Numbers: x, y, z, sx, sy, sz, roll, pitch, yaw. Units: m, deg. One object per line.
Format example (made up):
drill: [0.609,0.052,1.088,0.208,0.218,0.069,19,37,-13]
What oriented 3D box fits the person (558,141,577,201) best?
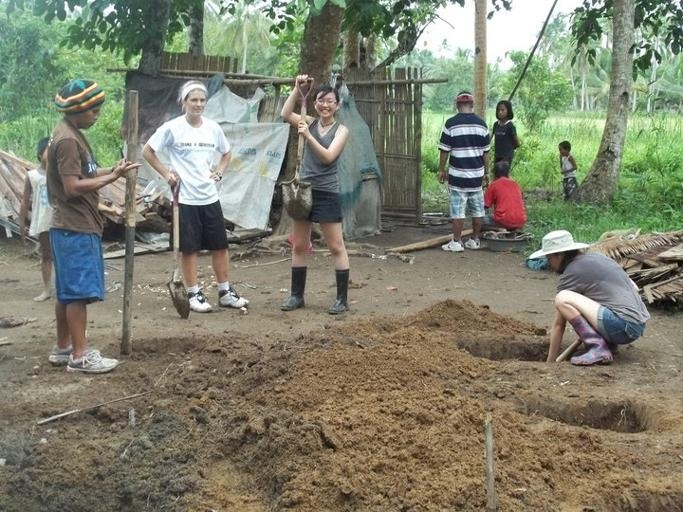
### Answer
person: [4.220,-1.596,14.514,0.343,1.048,1.464,3,14,15]

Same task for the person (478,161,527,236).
person: [2.432,-0.824,11.948,0.678,1.162,0.878,0,16,-3]

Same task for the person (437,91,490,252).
person: [1.822,-1.236,11.568,0.748,2.279,0.694,0,14,1]

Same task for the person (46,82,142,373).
person: [-2.289,-0.239,6.886,0.787,2.540,0.618,-1,14,0]

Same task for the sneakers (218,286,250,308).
sneakers: [-1.233,0.468,8.764,0.347,0.206,0.172,4,4,8]

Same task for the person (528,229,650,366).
person: [2.341,0.382,7.436,1.069,1.263,0.881,-3,-3,41]

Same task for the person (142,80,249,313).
person: [-1.558,-0.602,8.399,0.972,2.469,0.571,-5,15,-18]

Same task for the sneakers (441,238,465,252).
sneakers: [1.650,-0.134,11.537,0.358,0.179,0.133,2,5,28]

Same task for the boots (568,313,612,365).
boots: [2.245,0.732,7.126,0.361,0.486,0.288,4,34,29]

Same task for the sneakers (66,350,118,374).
sneakers: [-2.225,0.954,6.954,0.418,0.196,0.193,1,5,-7]

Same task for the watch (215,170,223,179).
watch: [-1.330,-0.876,8.423,0.088,0.090,0.088,7,1,-11]

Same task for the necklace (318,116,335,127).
necklace: [-0.182,-1.418,8.333,0.211,0.090,0.117,5,15,22]

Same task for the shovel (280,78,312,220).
shovel: [-0.488,-1.140,8.436,0.348,1.461,0.757,-1,14,-3]

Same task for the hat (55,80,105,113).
hat: [-2.285,-1.385,6.757,0.384,0.194,0.276,-16,38,9]

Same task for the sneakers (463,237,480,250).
sneakers: [1.965,-0.177,11.784,0.118,0.134,0.303,-1,4,-16]

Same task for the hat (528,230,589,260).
hat: [1.998,-0.103,7.349,0.353,0.121,0.356,-15,-1,-2]
